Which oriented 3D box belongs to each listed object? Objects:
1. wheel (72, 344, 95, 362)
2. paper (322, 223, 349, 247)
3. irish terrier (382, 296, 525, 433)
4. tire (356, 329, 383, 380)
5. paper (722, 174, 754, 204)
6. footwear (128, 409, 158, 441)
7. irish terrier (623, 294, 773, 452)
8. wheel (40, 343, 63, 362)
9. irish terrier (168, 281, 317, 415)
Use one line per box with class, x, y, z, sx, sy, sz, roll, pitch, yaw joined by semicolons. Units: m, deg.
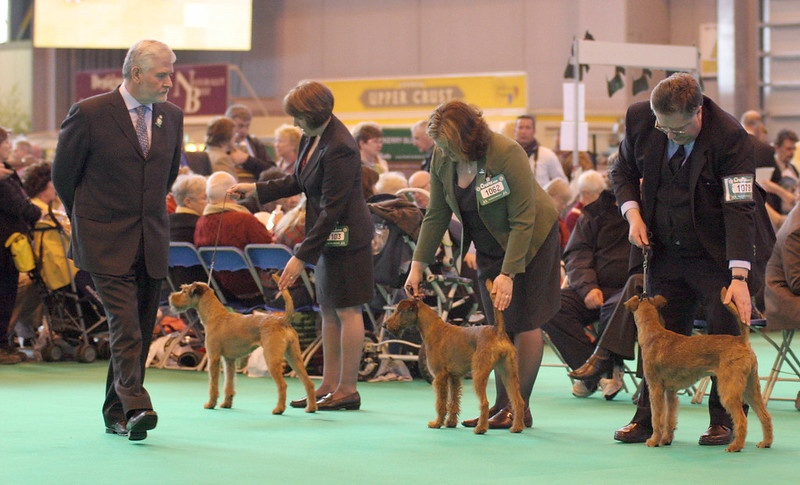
wheel;-3.375;1.202;10.074;0.143;0.230;0.211;-3;-2;26
paper;-0.541;-0.068;7.816;0.184;0.141;0.011;0;-4;3
irish terrier;0.397;0.811;7.410;1.284;1.344;0.468;2;-1;39
tire;-0.303;1.147;9.425;0.285;0.415;0.144;-4;7;-6
paper;2.440;-0.390;6.762;0.199;0.191;0.034;0;-7;6
footwear;-1.927;1.361;6.986;0.213;0.237;0.205;0;0;-18
irish terrier;2.142;0.902;6.970;0.419;1.177;1.189;3;-4;-41
wheel;-3.779;1.199;10.181;0.144;0.146;0.079;37;-16;-34
irish terrier;-1.371;0.871;7.953;1.337;1.103;0.388;-1;0;24
